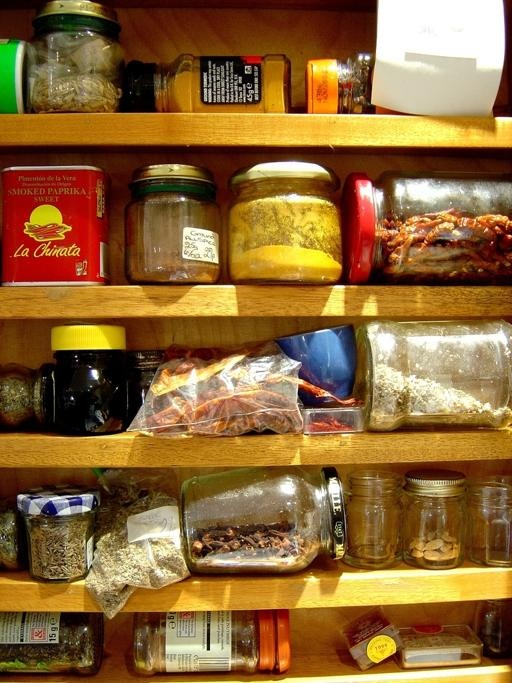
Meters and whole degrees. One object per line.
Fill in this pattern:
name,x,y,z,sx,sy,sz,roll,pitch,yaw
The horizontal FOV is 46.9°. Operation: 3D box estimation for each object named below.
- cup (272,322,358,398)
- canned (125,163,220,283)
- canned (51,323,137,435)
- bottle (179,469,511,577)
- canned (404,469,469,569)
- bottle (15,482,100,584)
cup,0.104,0.032,0.947,0.120,0.096,0.102,-7,-2,-22
canned,-0.125,-0.178,0.923,0.155,0.160,0.155,6,9,38
canned,-0.255,0.065,0.930,0.110,0.153,0.111,-4,-2,-24
bottle,0.126,0.236,0.910,0.446,0.142,0.199,0,-9,-3
canned,0.288,0.293,0.964,0.101,0.135,0.098,1,-5,12
bottle,-0.283,0.291,0.890,0.111,0.113,0.113,-8,-9,27
